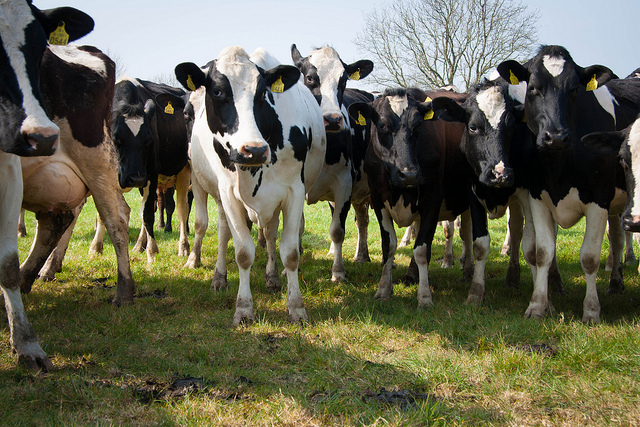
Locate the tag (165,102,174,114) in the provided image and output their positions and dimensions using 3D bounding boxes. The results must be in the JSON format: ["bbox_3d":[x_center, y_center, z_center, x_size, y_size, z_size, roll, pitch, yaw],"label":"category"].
[{"bbox_3d":[-2.742,-1.924,11.788,0.156,0.208,0.307,0,12,2],"label":"tag"}]

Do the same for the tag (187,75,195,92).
[{"bbox_3d":[-1.852,-1.878,9.260,0.096,0.203,0.112,-3,12,-15],"label":"tag"}]

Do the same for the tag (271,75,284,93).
[{"bbox_3d":[-0.624,-1.924,9.504,0.251,0.374,0.023,6,49,-1],"label":"tag"}]

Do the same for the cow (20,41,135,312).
[{"bbox_3d":[-3.680,-0.515,9.660,1.578,3.901,1.157,-5,12,-23],"label":"cow"}]

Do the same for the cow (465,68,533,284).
[{"bbox_3d":[3.328,-0.345,11.675,1.198,3.688,4.882,-3,1,18],"label":"cow"}]

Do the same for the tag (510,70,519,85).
[{"bbox_3d":[2.965,-2.079,9.813,0.116,0.220,0.023,-25,10,37],"label":"tag"}]

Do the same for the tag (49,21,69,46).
[{"bbox_3d":[-3.498,-2.402,8.613,0.244,0.291,0.143,2,11,11],"label":"tag"}]

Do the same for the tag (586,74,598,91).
[{"bbox_3d":[3.986,-1.923,9.432,0.151,0.280,0.028,10,14,32],"label":"tag"}]

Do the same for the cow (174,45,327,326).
[{"bbox_3d":[-0.774,-0.488,9.870,1.634,3.975,2.217,7,13,31],"label":"cow"}]

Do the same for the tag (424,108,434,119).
[{"bbox_3d":[1.751,-1.602,10.352,0.133,0.126,0.015,-16,14,-9],"label":"tag"}]
